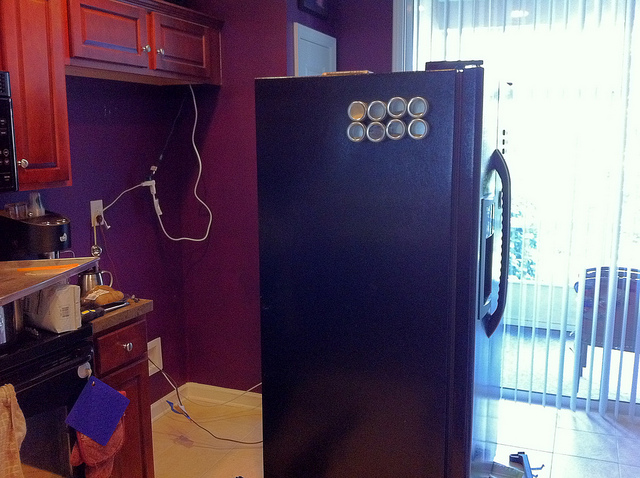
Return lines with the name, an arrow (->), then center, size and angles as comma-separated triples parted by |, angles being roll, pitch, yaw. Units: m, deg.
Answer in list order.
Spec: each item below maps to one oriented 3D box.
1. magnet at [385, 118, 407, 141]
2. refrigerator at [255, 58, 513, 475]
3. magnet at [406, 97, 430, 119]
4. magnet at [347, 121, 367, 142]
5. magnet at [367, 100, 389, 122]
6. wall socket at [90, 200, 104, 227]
magnet -> 0.312, -0.443, 2.155 | 0.079, 0.084, 0.029 | 31, 22, 22
refrigerator -> 0.258, 0.140, 2.627 | 0.765, 1.835, 1.268 | 3, 10, 14
magnet -> 0.392, -0.523, 2.114 | 0.077, 0.086, 0.024 | -1, 2, 27
magnet -> 0.153, -0.444, 2.204 | 0.071, 0.080, 0.026 | 6, 7, 27
magnet -> 0.239, -0.521, 2.164 | 0.086, 0.083, 0.014 | 6, 8, 20
wall socket -> -1.258, -0.150, 3.007 | 0.031, 0.142, 0.077 | 5, 8, 20
